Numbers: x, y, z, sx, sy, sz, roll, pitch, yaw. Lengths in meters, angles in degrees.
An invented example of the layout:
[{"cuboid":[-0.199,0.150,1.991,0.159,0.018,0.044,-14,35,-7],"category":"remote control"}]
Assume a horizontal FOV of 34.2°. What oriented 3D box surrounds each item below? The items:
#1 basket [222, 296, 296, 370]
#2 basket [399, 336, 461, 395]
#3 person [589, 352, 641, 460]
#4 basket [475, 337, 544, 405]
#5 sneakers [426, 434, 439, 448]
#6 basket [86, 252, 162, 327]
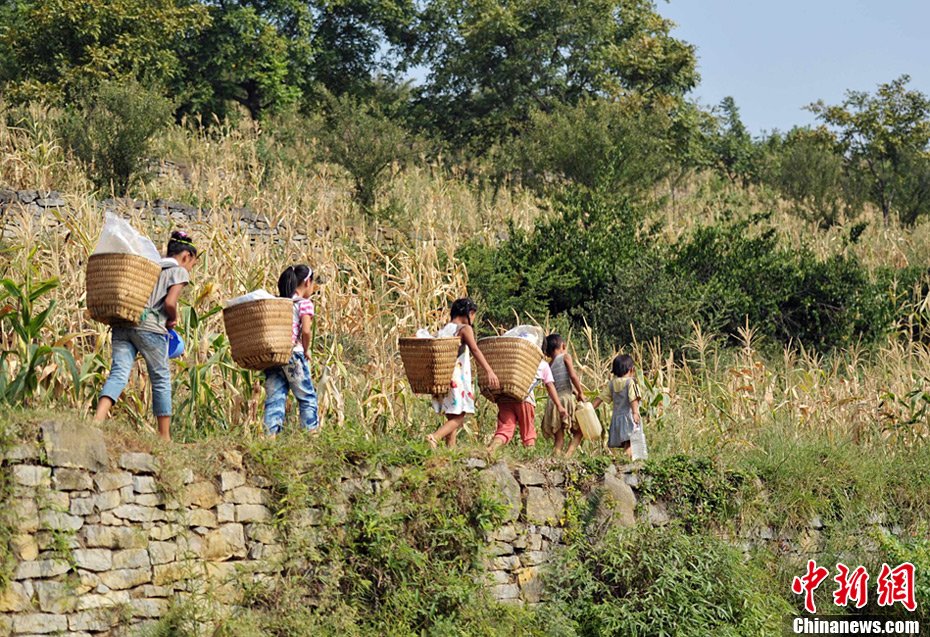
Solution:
[{"cuboid":[-2.818,0.240,20.733,0.920,0.971,0.920,-9,-7,10],"category":"basket"},{"cuboid":[-0.586,0.552,21.328,0.815,0.902,0.935,-8,4,13],"category":"basket"},{"cuboid":[2.275,1.328,22.200,0.572,1.549,0.777,-4,-10,7],"category":"person"},{"cuboid":[0.555,0.627,21.209,0.733,0.723,0.835,10,-21,8],"category":"basket"},{"cuboid":[-0.464,1.702,21.039,0.081,0.108,0.213,-14,15,-8],"category":"sneakers"},{"cuboid":[-4.558,-0.409,20.319,0.866,0.869,0.785,8,-8,-28],"category":"basket"}]
